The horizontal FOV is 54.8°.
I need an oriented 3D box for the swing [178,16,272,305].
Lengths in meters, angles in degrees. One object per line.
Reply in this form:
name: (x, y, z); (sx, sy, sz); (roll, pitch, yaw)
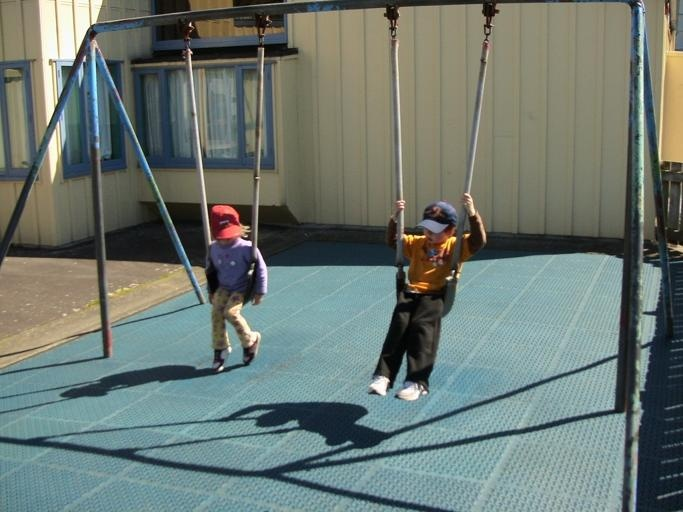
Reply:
swing: (-0.973, -1.061, 5.666); (0.923, 0.233, 3.066); (-5, 49, -6)

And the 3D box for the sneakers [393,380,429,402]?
sneakers: (0.500, 0.944, 4.573); (0.273, 0.138, 0.110); (0, -7, -31)

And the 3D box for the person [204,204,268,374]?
person: (-0.881, 0.266, 5.544); (0.501, 1.371, 0.419); (-5, 11, -9)

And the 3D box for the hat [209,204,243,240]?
hat: (-0.964, -0.292, 5.504); (0.188, 0.171, 0.310); (-7, 25, -13)

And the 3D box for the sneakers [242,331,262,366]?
sneakers: (-0.780, 0.799, 5.656); (0.103, 0.322, 0.119); (20, 14, 32)

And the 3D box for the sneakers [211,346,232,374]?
sneakers: (-1.009, 0.880, 5.566); (0.107, 0.258, 0.088); (10, 5, -2)
